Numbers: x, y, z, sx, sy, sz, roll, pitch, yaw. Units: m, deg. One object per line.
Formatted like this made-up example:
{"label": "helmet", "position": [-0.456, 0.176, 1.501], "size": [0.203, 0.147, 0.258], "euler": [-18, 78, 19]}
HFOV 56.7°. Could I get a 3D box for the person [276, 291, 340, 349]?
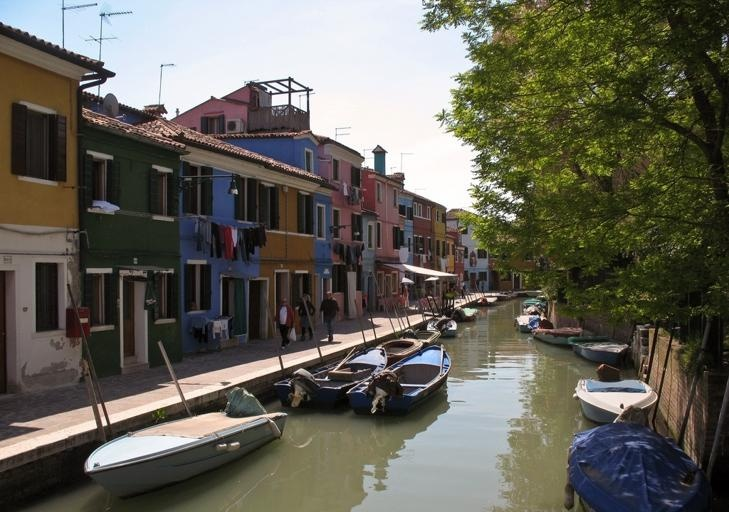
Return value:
{"label": "person", "position": [-2.284, 2.508, 26.127], "size": [1.680, 1.561, 0.716], "euler": [2, 8, 15]}
